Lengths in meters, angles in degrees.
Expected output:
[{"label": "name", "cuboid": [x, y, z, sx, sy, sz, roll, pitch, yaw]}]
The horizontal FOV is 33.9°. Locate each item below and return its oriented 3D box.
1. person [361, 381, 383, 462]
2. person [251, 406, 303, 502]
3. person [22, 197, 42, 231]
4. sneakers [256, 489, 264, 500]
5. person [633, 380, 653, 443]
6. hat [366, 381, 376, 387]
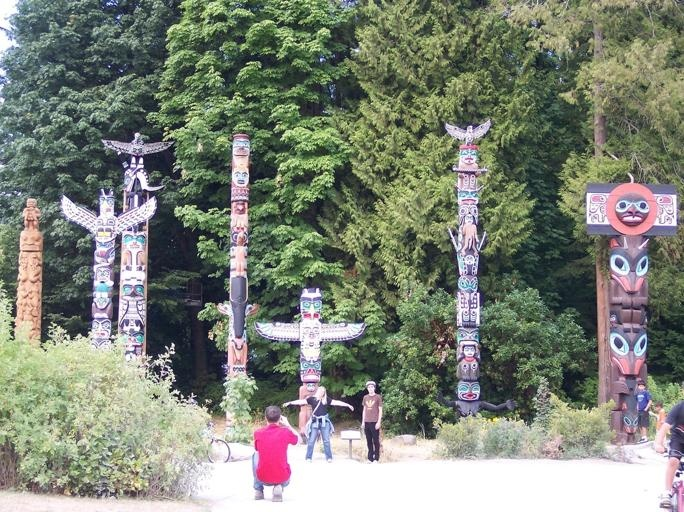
[{"label": "person", "cuboid": [0.868, 4.792, 32.131, 0.511, 2.300, 0.935, -1, -4, 1]}, {"label": "person", "cuboid": [-1.677, 4.857, 27.386, 1.026, 2.276, 0.869, 0, -4, -6]}, {"label": "person", "cuboid": [-10.788, -1.415, 38.910, 0.472, 1.143, 0.649, 0, -4, -11]}, {"label": "sneakers", "cuboid": [-2.013, 5.853, 27.240, 0.219, 0.206, 0.187, 10, -14, -31]}, {"label": "person", "cuboid": [9.692, 4.984, 35.889, 0.440, 1.712, 0.700, -2, -4, 14]}, {"label": "hat", "cuboid": [0.818, 3.707, 32.093, 0.401, 0.189, 0.482, -1, -6, 2]}]
